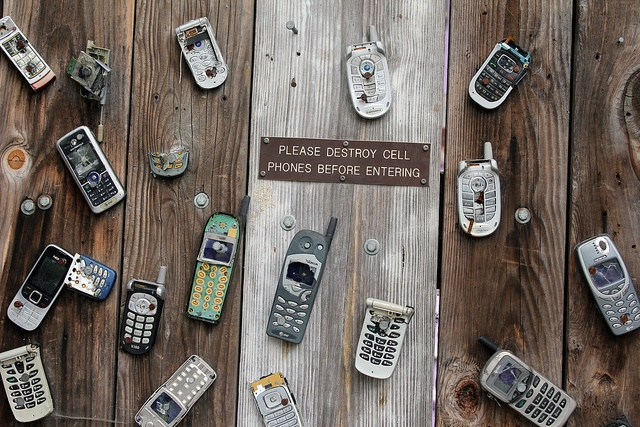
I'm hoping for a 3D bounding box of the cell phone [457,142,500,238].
[{"bbox_3d":[0.493,-0.051,2.535,0.125,0.078,0.211,-1,69,-1],"label":"cell phone"}]
